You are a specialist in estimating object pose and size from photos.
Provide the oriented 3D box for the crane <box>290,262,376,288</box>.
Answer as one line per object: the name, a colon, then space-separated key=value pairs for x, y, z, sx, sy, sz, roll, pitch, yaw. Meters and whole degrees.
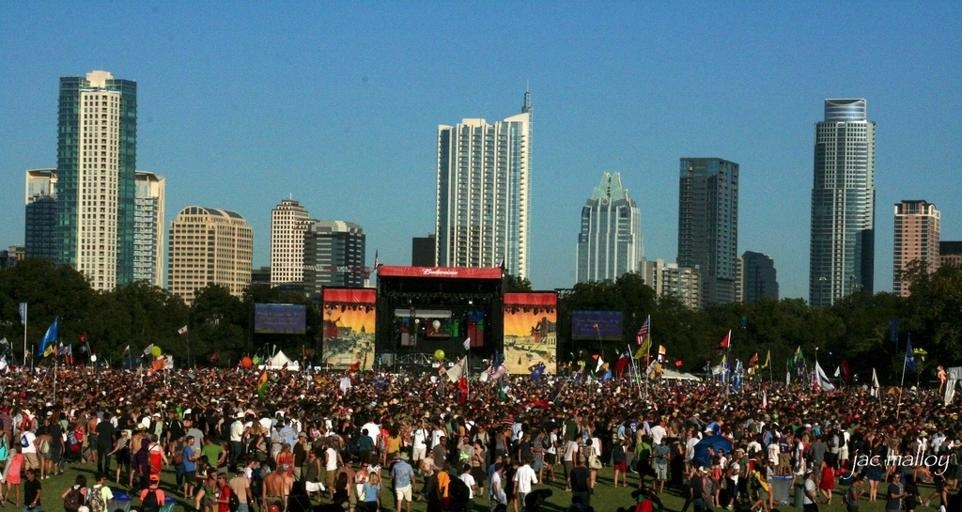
crane: x=-47.443 y=5.961 z=592.554 sx=27.368 sy=11.556 sz=23.493 roll=1 pitch=0 yaw=2

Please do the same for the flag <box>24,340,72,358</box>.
flag: x=-81.704 y=17.710 z=346.741 sx=7.294 sy=2.243 sz=0.902 roll=-2 pitch=-45 yaw=-12
